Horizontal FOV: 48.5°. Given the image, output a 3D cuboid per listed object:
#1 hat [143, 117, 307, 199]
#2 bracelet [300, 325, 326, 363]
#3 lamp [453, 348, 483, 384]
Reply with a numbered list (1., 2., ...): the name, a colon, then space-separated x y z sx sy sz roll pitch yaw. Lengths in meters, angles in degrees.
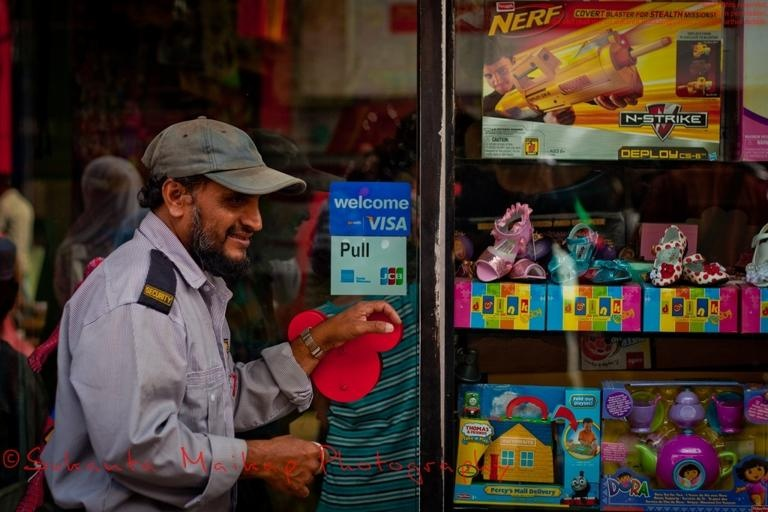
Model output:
1. hat: -0.691 -0.414 3.683 0.695 0.333 0.491 7 3 11
2. bracelet: -0.322 0.394 3.772 0.081 0.138 0.137 -36 31 0
3. lamp: 0.378 0.504 3.894 0.118 0.126 0.124 0 10 -7
